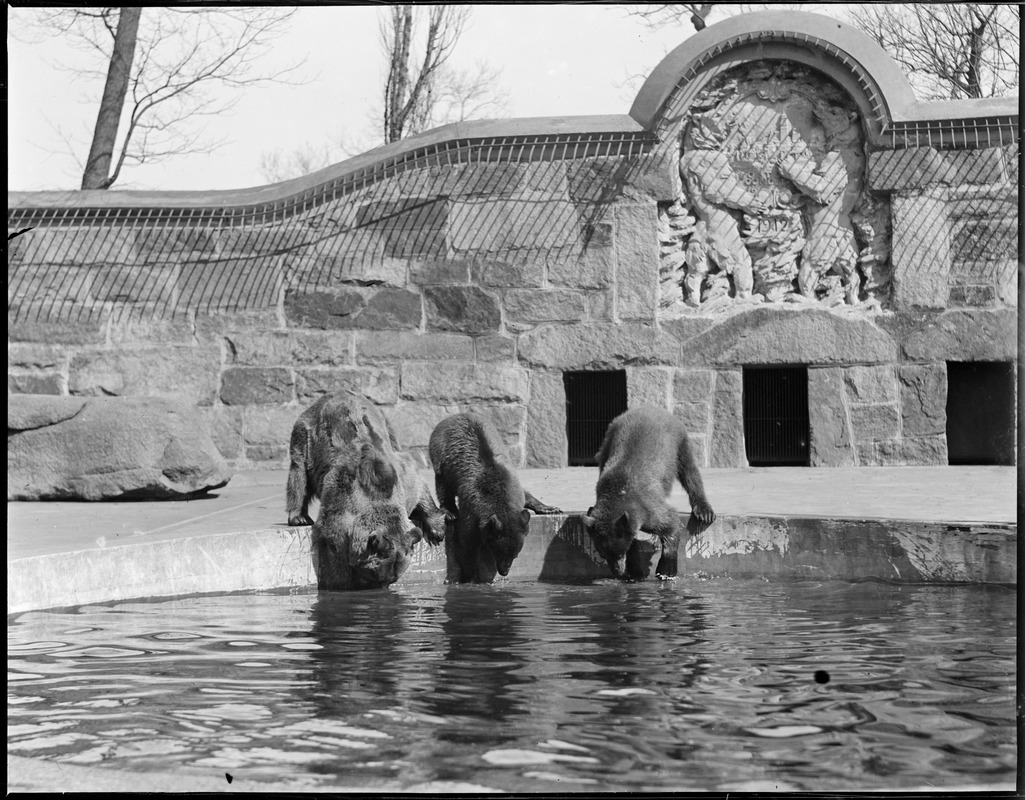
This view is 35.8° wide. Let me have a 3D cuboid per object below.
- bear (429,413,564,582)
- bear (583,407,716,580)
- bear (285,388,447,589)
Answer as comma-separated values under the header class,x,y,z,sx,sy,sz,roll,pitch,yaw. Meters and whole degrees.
class,x,y,z,sx,sy,sz,roll,pitch,yaw
bear,-0.287,0.778,12.041,0.555,1.554,0.818,-8,-47,-13
bear,1.004,0.679,12.061,0.781,0.807,1.484,-7,24,19
bear,-1.145,0.758,11.648,0.911,1.563,0.891,-11,-41,-12
